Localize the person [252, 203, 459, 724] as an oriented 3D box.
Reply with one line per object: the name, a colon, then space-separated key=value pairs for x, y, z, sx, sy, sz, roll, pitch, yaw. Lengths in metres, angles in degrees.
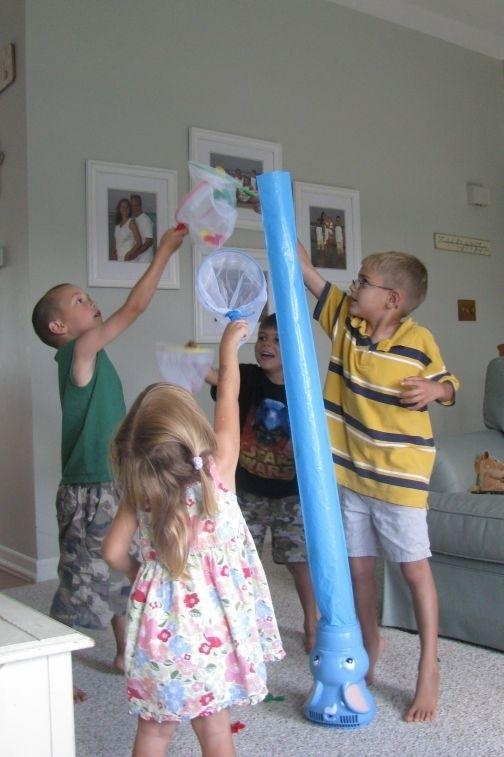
person: x=0.301 y=0.207 z=1.593 sx=0.363 sy=0.759 sz=0.293 roll=-2 pitch=-1 yaw=17
